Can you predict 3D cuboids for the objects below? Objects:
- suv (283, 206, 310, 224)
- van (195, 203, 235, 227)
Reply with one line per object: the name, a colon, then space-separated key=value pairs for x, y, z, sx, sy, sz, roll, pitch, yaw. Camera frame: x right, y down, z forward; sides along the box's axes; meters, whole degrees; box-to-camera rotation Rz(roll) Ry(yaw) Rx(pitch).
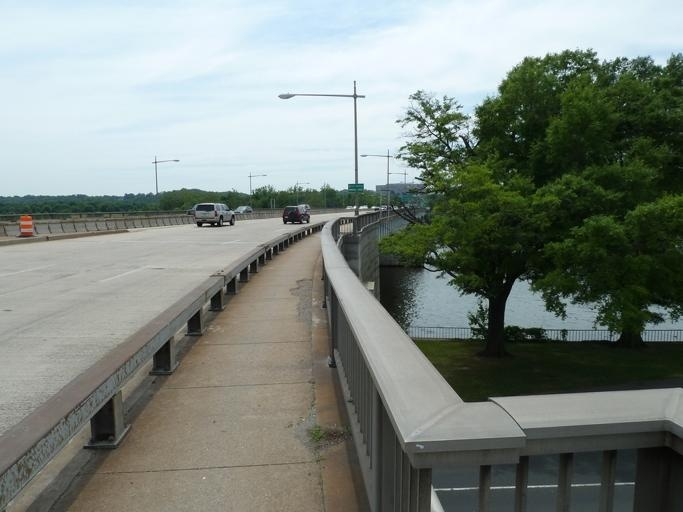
suv: x=-3.378 y=-3.037 z=50.931 sx=1.159 sy=0.861 sz=2.422 roll=1 pitch=9 yaw=10
van: x=-8.198 y=-2.775 z=45.443 sx=1.335 sy=1.041 sz=2.831 roll=1 pitch=9 yaw=14
